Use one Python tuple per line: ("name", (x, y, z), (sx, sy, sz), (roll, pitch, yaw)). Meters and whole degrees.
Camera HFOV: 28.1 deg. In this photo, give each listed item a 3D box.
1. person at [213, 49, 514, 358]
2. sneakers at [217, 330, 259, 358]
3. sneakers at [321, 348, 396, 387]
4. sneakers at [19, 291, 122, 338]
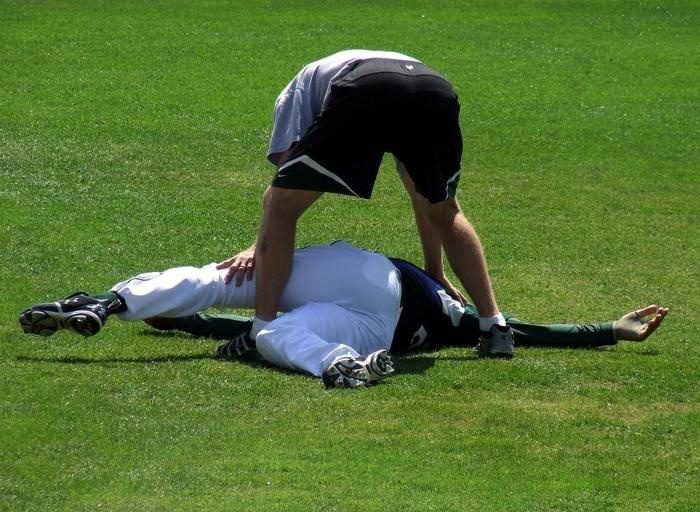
("person", (0.179, -0.348, 8.859), (1.523, 1.798, 0.787), (3, 19, -5))
("sneakers", (-0.701, 0.568, 8.715), (0.257, 0.169, 0.119), (3, 19, -3))
("sneakers", (0.050, 0.671, 8.323), (0.372, 0.148, 0.214), (-6, 0, -16))
("sneakers", (-1.711, 0.385, 8.646), (0.654, 0.242, 0.228), (-1, 20, -16))
